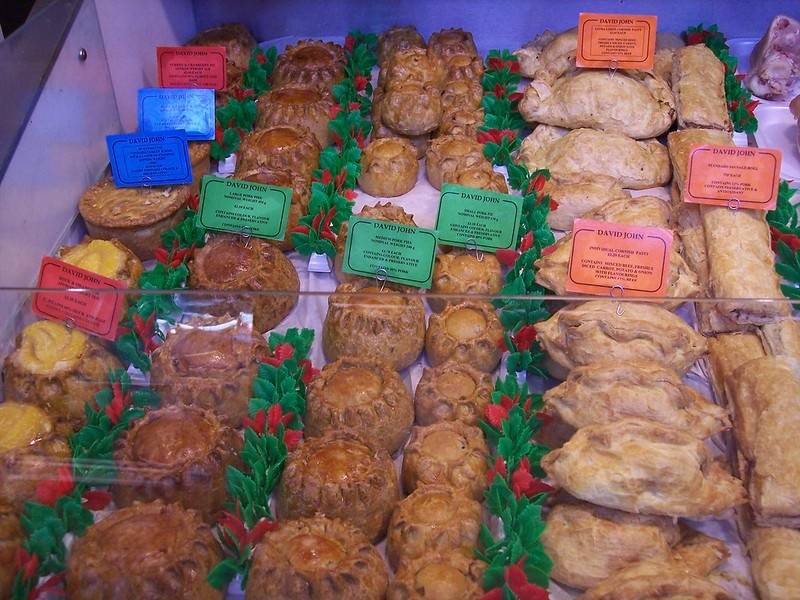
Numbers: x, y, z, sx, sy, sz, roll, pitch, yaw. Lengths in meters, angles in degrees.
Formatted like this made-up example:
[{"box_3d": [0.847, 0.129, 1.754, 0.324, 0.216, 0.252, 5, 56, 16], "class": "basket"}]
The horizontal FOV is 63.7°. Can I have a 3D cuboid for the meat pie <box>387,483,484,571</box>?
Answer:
[{"box_3d": [0.099, 0.702, 1.981, 0.245, 0.157, 0.255, 1, 46, 1], "class": "meat pie"}]

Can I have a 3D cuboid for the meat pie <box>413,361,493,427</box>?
[{"box_3d": [0.186, 0.375, 2.321, 0.280, 0.176, 0.244, -1, 40, 0], "class": "meat pie"}]

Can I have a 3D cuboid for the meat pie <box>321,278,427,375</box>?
[{"box_3d": [-0.092, 0.072, 2.468, 0.318, 0.233, 0.330, 5, 32, -9], "class": "meat pie"}]

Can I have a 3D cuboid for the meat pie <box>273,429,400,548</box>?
[{"box_3d": [-0.215, 0.600, 2.066, 0.324, 0.205, 0.332, 25, 38, 18], "class": "meat pie"}]
